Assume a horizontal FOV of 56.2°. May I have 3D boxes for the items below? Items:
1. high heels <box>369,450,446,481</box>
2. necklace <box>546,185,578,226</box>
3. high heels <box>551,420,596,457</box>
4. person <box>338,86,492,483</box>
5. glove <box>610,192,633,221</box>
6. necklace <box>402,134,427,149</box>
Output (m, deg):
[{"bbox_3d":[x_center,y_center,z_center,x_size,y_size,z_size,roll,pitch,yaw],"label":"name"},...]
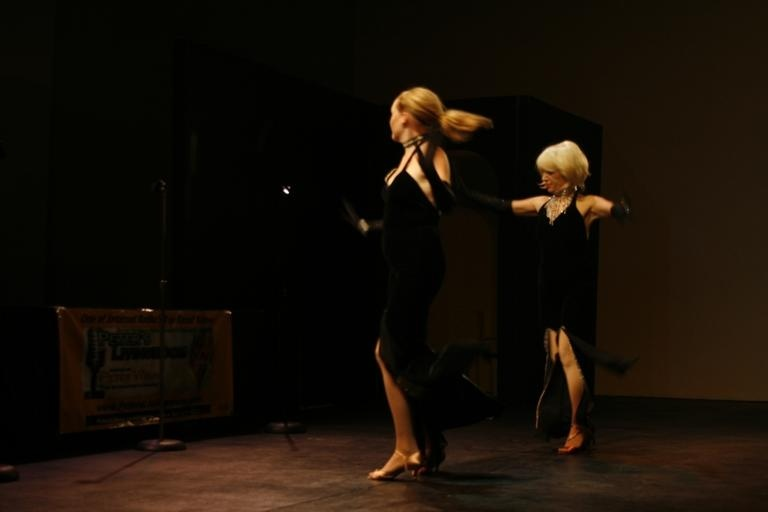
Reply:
[{"bbox_3d":[0.131,1.160,4.078,0.399,0.180,0.185,-3,-3,10],"label":"high heels"},{"bbox_3d":[1.237,-0.388,5.137,0.278,0.388,0.052,0,-37,30],"label":"necklace"},{"bbox_3d":[1.289,1.246,4.888,0.123,0.157,0.386,-4,-10,38],"label":"high heels"},{"bbox_3d":[0.241,0.145,4.075,0.650,2.224,0.280,0,1,7],"label":"person"},{"bbox_3d":[1.624,-0.335,4.944,0.119,0.188,0.235,0,0,18],"label":"glove"},{"bbox_3d":[0.176,-0.647,4.120,0.074,0.025,0.101,-11,-3,-37],"label":"necklace"}]
